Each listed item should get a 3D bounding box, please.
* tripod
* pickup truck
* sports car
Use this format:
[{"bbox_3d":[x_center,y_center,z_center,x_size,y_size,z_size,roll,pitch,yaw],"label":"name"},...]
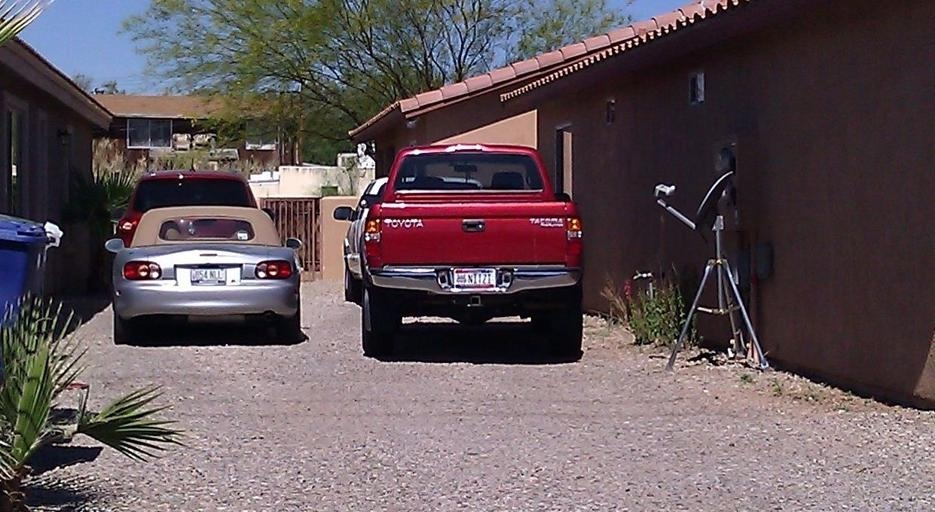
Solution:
[{"bbox_3d":[3.580,0.487,10.191,1.234,2.076,1.305,3,7,22],"label":"tripod"},{"bbox_3d":[0.135,-0.417,12.922,3.390,2.994,6.393,-1,9,1],"label":"pickup truck"},{"bbox_3d":[-4.108,0.193,11.532,2.109,1.833,5.216,0,2,-21],"label":"sports car"}]
